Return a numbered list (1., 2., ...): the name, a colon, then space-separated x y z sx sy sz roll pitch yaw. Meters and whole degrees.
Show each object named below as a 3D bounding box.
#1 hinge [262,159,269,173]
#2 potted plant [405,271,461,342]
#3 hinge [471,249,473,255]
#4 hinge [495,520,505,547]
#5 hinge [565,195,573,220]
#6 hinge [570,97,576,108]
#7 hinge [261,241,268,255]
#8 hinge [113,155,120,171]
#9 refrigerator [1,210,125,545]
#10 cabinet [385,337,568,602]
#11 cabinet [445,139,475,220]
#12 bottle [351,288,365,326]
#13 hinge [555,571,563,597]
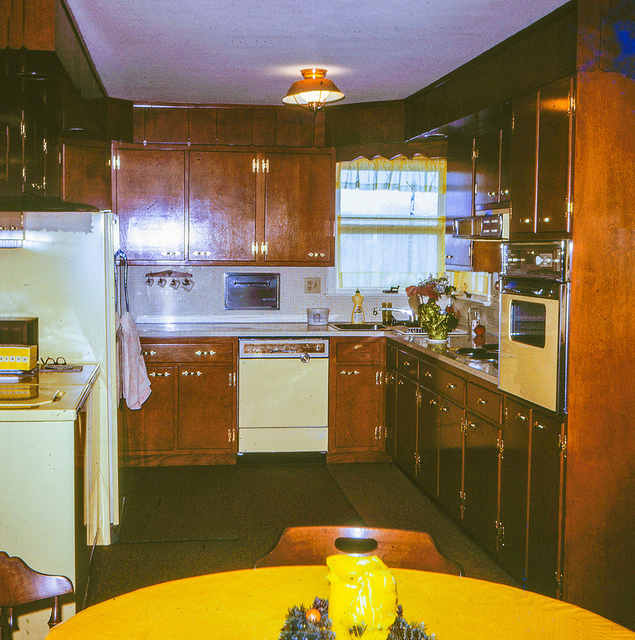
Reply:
1. hinge: -0.390 -1.171 5.051 0.055 0.103 0.029 1 1 -2
2. potted plant: 0.795 -0.066 4.604 0.249 0.489 0.326 2 -12 4
3. hinge: 0.940 -0.418 4.058 0.013 0.029 0.015 -1 5 -7
4. hinge: 0.874 1.014 3.191 0.016 0.086 0.076 2 7 -12
5. hinge: 0.998 -0.449 2.652 0.006 0.091 0.040 -2 3 -21
6. hinge: 1.010 -0.860 2.641 0.007 0.041 0.031 -1 4 -16
7. hinge: -0.400 -0.557 5.095 0.049 0.092 0.021 -2 3 0
8. hinge: -1.470 -1.150 4.902 0.046 0.090 0.015 -2 3 -18
9. refrigerator: -1.341 0.310 3.537 0.545 1.778 0.919 -1 3 -12
10. cabinet: 1.080 0.721 3.330 0.487 0.968 2.004 0 4 -7
11. cabinet: 0.890 -0.854 4.204 0.231 0.403 0.233 -4 8 -36
12. bottle: 0.332 -0.108 5.445 0.109 0.290 0.283 0 4 4
13. hinge: 0.982 1.070 2.716 0.035 0.097 0.021 2 4 39
